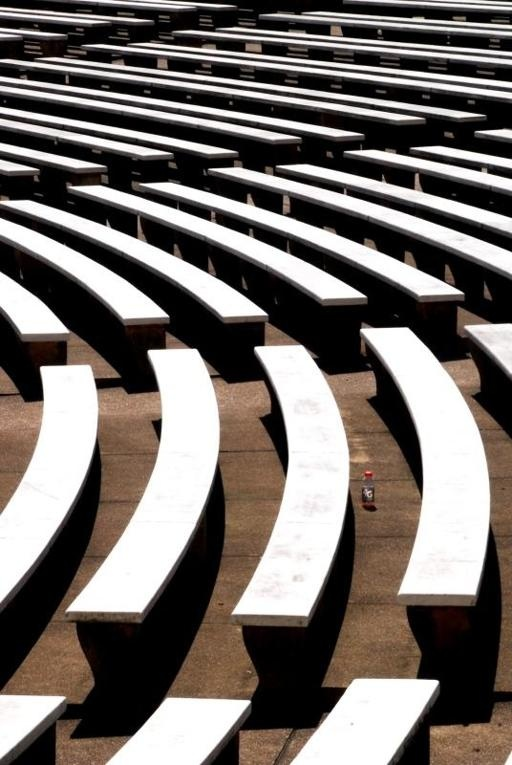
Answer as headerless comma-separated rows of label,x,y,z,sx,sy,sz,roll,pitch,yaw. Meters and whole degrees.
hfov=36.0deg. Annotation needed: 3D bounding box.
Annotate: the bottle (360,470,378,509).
bottle,0.697,0.640,4.902,0.095,0.232,0.262,-1,21,8
